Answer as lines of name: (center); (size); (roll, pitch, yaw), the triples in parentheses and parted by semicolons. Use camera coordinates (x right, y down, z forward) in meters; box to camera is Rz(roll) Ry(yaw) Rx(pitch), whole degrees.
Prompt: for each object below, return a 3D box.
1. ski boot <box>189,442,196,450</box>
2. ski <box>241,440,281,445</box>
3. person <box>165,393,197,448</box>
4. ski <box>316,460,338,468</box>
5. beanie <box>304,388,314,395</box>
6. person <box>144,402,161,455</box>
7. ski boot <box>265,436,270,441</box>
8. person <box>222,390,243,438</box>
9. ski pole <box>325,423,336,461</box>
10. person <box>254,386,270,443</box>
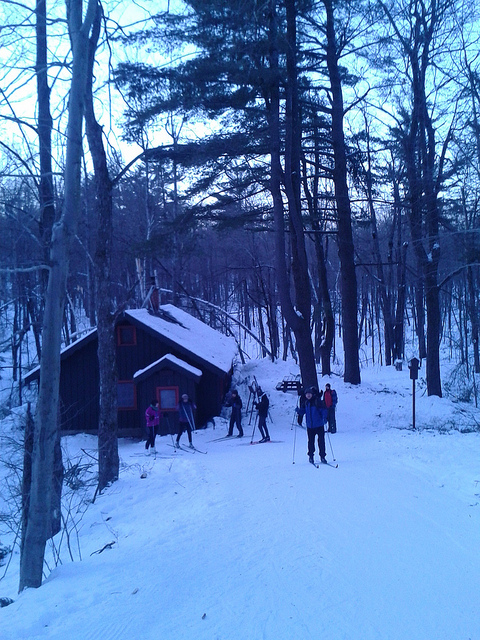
ski boot: (-1.330, 3.541, 16.352); (0.232, 0.307, 0.101); (1, 4, 13)
ski: (0.590, 3.578, 16.929); (1.148, 0.041, 0.289); (-5, -5, -14)
person: (-1.546, 2.875, 16.506); (0.489, 1.727, 0.405); (5, 19, 15)
ski: (1.871, 3.035, 12.156); (0.161, 0.033, 0.830); (-4, -6, -22)
beanie: (1.494, 1.542, 12.464); (0.168, 0.129, 0.359); (-6, -5, 10)
person: (-2.403, 2.961, 15.917); (0.384, 1.376, 0.991); (-2, -3, -9)
ski boot: (0.824, 3.494, 16.882); (0.117, 0.204, 0.087); (3, 17, -1)
person: (-0.192, 2.943, 18.106); (0.380, 1.726, 0.445); (4, 15, 18)
ski pole: (2.300, 3.121, 14.653); (0.023, 0.911, 0.075); (-4, -13, -8)
person: (0.652, 2.796, 16.947); (0.390, 1.548, 0.672); (-2, -2, 1)
